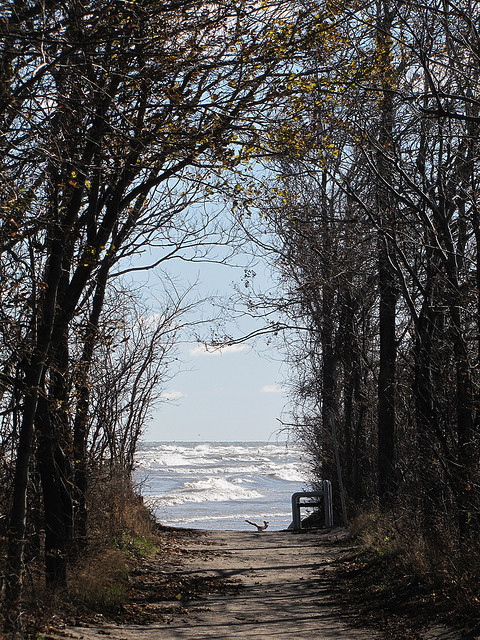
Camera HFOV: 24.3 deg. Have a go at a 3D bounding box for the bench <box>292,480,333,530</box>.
[{"bbox_3d":[1.711,4.551,27.246,1.016,1.277,0.952,0,-6,-11],"label":"bench"}]
